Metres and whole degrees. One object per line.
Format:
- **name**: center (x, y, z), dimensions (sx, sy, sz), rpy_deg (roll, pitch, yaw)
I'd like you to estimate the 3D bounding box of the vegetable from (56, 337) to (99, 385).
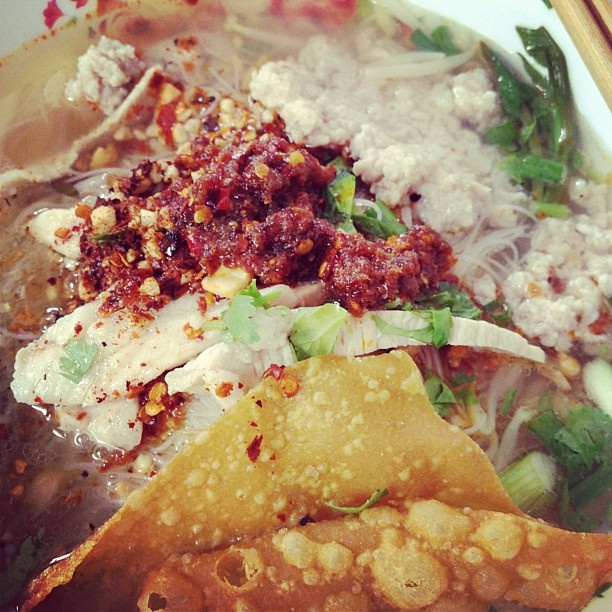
- **vegetable**: center (-1.187, 0.275, 3.916), dimensions (0.160, 0.130, 0.227), rpy_deg (27, 62, 26)
